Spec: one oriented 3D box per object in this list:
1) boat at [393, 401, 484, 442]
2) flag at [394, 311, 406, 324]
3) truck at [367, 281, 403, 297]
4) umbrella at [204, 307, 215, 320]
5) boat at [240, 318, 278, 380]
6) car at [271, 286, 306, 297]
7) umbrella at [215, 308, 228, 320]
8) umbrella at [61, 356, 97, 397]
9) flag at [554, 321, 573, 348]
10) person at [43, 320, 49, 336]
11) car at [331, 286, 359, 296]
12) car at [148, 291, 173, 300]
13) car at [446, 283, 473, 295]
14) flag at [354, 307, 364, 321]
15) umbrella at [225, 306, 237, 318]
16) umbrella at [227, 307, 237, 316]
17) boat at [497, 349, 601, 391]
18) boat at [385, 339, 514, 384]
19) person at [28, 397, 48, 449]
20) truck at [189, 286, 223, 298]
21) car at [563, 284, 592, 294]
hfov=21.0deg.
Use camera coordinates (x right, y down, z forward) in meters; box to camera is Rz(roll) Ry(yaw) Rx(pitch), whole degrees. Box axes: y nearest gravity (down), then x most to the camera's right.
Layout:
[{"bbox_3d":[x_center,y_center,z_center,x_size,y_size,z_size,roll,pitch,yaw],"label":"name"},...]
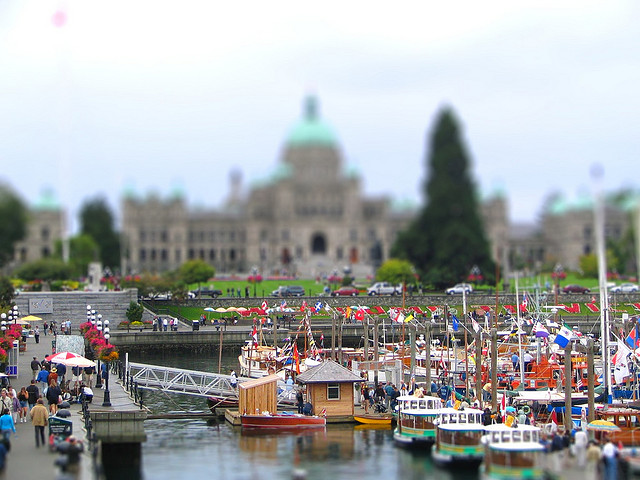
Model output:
[{"bbox_3d":[6.846,11.948,112.466,2.593,1.551,3.983,1,-4,-6],"label":"boat"},{"bbox_3d":[6.012,5.574,132.399,1.136,1.097,0.412,9,18,37],"label":"flag"},{"bbox_3d":[6.436,4.392,174.939,2.304,1.168,1.770,1,-1,-1],"label":"truck"},{"bbox_3d":[-10.235,6.380,158.908,1.034,1.273,1.084,0,-2,0],"label":"umbrella"},{"bbox_3d":[-4.791,8.335,133.684,3.099,6.443,9.662,1,-4,-5],"label":"boat"},{"bbox_3d":[-3.069,4.829,173.275,2.466,1.077,1.295,2,-1,4],"label":"car"},{"bbox_3d":[-9.051,6.300,157.123,0.999,0.849,1.089,0,0,33],"label":"umbrella"},{"bbox_3d":[-16.594,9.066,118.474,1.920,2.773,3.706,-2,6,-5],"label":"umbrella"},{"bbox_3d":[16.769,6.379,120.302,1.056,2.567,0.298,32,-34,3],"label":"flag"},{"bbox_3d":[-23.929,7.401,150.306,0.404,1.627,1.156,-1,0,-7],"label":"person"},{"bbox_3d":[2.574,4.495,172.137,2.112,0.768,1.041,3,-2,-12],"label":"car"},{"bbox_3d":[-15.490,4.705,167.048,1.817,0.803,5.732,-3,7,-10],"label":"car"},{"bbox_3d":[13.628,4.389,172.050,1.969,1.067,1.256,4,-2,3],"label":"car"},{"bbox_3d":[2.947,5.382,132.505,0.587,0.951,2.179,-1,7,4],"label":"flag"},{"bbox_3d":[-7.745,5.999,151.013,1.136,1.002,1.222,-4,6,-30],"label":"umbrella"},{"bbox_3d":[-8.095,6.056,156.461,0.804,0.669,0.878,-2,-7,3],"label":"umbrella"},{"bbox_3d":[16.060,10.115,124.945,7.165,4.373,3.329,0,0,-1],"label":"boat"},{"bbox_3d":[9.100,9.858,128.859,10.895,4.859,2.830,3,-13,1],"label":"boat"},{"bbox_3d":[-17.657,11.261,108.358,1.176,3.248,0.877,2,15,-11],"label":"person"},{"bbox_3d":[-11.428,4.452,174.398,2.846,1.207,1.404,5,-5,-12],"label":"truck"},{"bbox_3d":[25.085,4.516,169.885,2.230,0.898,1.158,-2,3,-1],"label":"car"}]
